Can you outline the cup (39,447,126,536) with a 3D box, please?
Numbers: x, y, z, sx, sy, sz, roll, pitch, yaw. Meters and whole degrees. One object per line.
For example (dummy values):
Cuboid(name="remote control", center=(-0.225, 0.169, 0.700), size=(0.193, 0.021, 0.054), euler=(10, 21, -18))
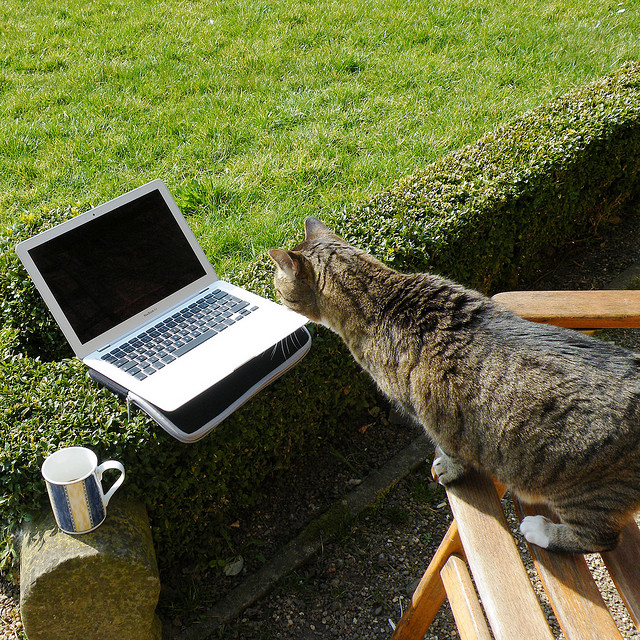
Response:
Cuboid(name="cup", center=(-0.918, 0.680, 2.841), size=(0.188, 0.282, 0.290), euler=(21, 32, 38))
